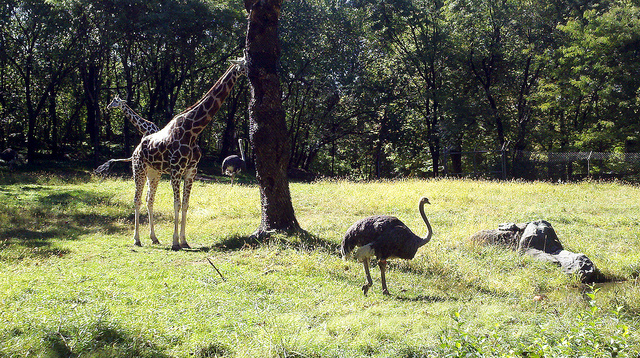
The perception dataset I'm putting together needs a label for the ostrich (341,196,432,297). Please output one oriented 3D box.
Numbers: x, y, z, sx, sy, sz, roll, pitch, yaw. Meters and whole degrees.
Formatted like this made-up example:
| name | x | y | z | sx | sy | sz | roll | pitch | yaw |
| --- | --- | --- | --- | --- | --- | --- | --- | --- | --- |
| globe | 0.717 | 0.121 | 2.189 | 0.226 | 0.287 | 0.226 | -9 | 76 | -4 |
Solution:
| name | x | y | z | sx | sy | sz | roll | pitch | yaw |
| --- | --- | --- | --- | --- | --- | --- | --- | --- | --- |
| ostrich | 3.610 | 3.502 | 38.849 | 4.942 | 5.407 | 4.685 | 0 | 0 | -25 |
